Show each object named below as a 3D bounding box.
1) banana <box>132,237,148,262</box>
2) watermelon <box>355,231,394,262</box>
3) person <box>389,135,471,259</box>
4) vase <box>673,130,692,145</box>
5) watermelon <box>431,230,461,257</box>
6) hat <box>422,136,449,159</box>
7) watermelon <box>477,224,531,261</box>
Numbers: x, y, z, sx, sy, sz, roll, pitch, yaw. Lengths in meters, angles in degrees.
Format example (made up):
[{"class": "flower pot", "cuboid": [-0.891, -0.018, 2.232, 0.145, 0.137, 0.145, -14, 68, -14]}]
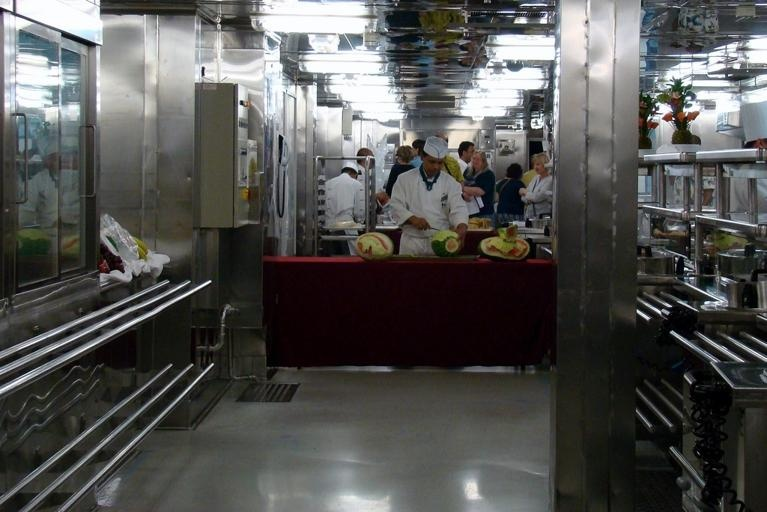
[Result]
[{"class": "banana", "cuboid": [-1.851, -0.045, 4.340, 0.055, 0.149, 0.146, -17, 6, 3]}, {"class": "watermelon", "cuboid": [-0.084, -0.085, 5.632, 0.304, 0.190, 0.240, 5, -1, 38]}, {"class": "person", "cuboid": [0.491, -0.447, 6.168, 0.841, 1.502, 0.753, 7, 6, 16]}, {"class": "vase", "cuboid": [2.481, -0.982, 4.741, 0.170, 0.121, 0.129, 0, 7, 6]}, {"class": "watermelon", "cuboid": [0.622, -0.116, 5.660, 0.203, 0.225, 0.280, -4, -1, 43]}, {"class": "hat", "cuboid": [0.555, -1.120, 5.988, 0.260, 0.231, 0.278, -1, 7, -5]}, {"class": "watermelon", "cuboid": [1.204, -0.160, 5.804, 0.321, 0.266, 0.433, 4, 7, 3]}]
